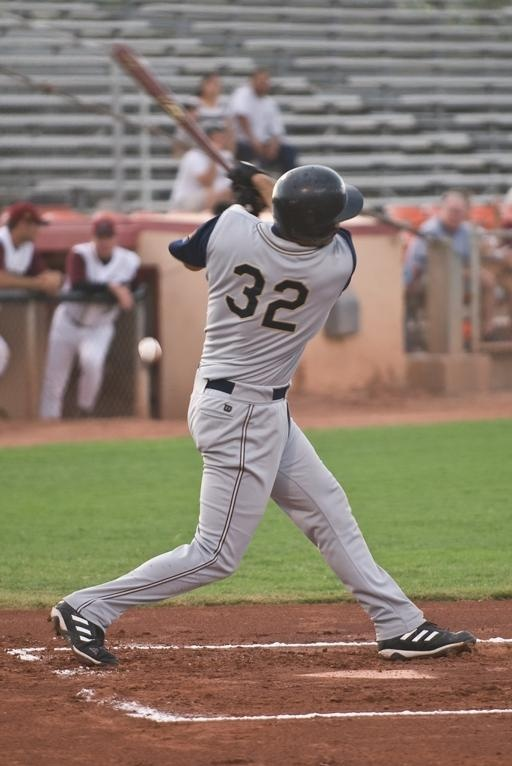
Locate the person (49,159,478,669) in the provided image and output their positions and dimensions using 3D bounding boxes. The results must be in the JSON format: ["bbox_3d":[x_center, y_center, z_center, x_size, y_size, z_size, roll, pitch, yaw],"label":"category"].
[{"bbox_3d":[0.021,0.116,4.534,1.273,1.614,0.278,0,8,0],"label":"person"}]

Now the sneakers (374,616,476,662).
[{"bbox_3d":[0.567,0.865,4.748,0.347,0.135,0.118,-9,1,-7],"label":"sneakers"}]

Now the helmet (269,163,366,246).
[{"bbox_3d":[0.204,-0.552,4.412,0.301,0.250,0.204,-1,8,-7],"label":"helmet"}]

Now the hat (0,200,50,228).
[{"bbox_3d":[-1.453,-1.045,8.824,0.192,0.158,0.268,0,7,-3],"label":"hat"}]
